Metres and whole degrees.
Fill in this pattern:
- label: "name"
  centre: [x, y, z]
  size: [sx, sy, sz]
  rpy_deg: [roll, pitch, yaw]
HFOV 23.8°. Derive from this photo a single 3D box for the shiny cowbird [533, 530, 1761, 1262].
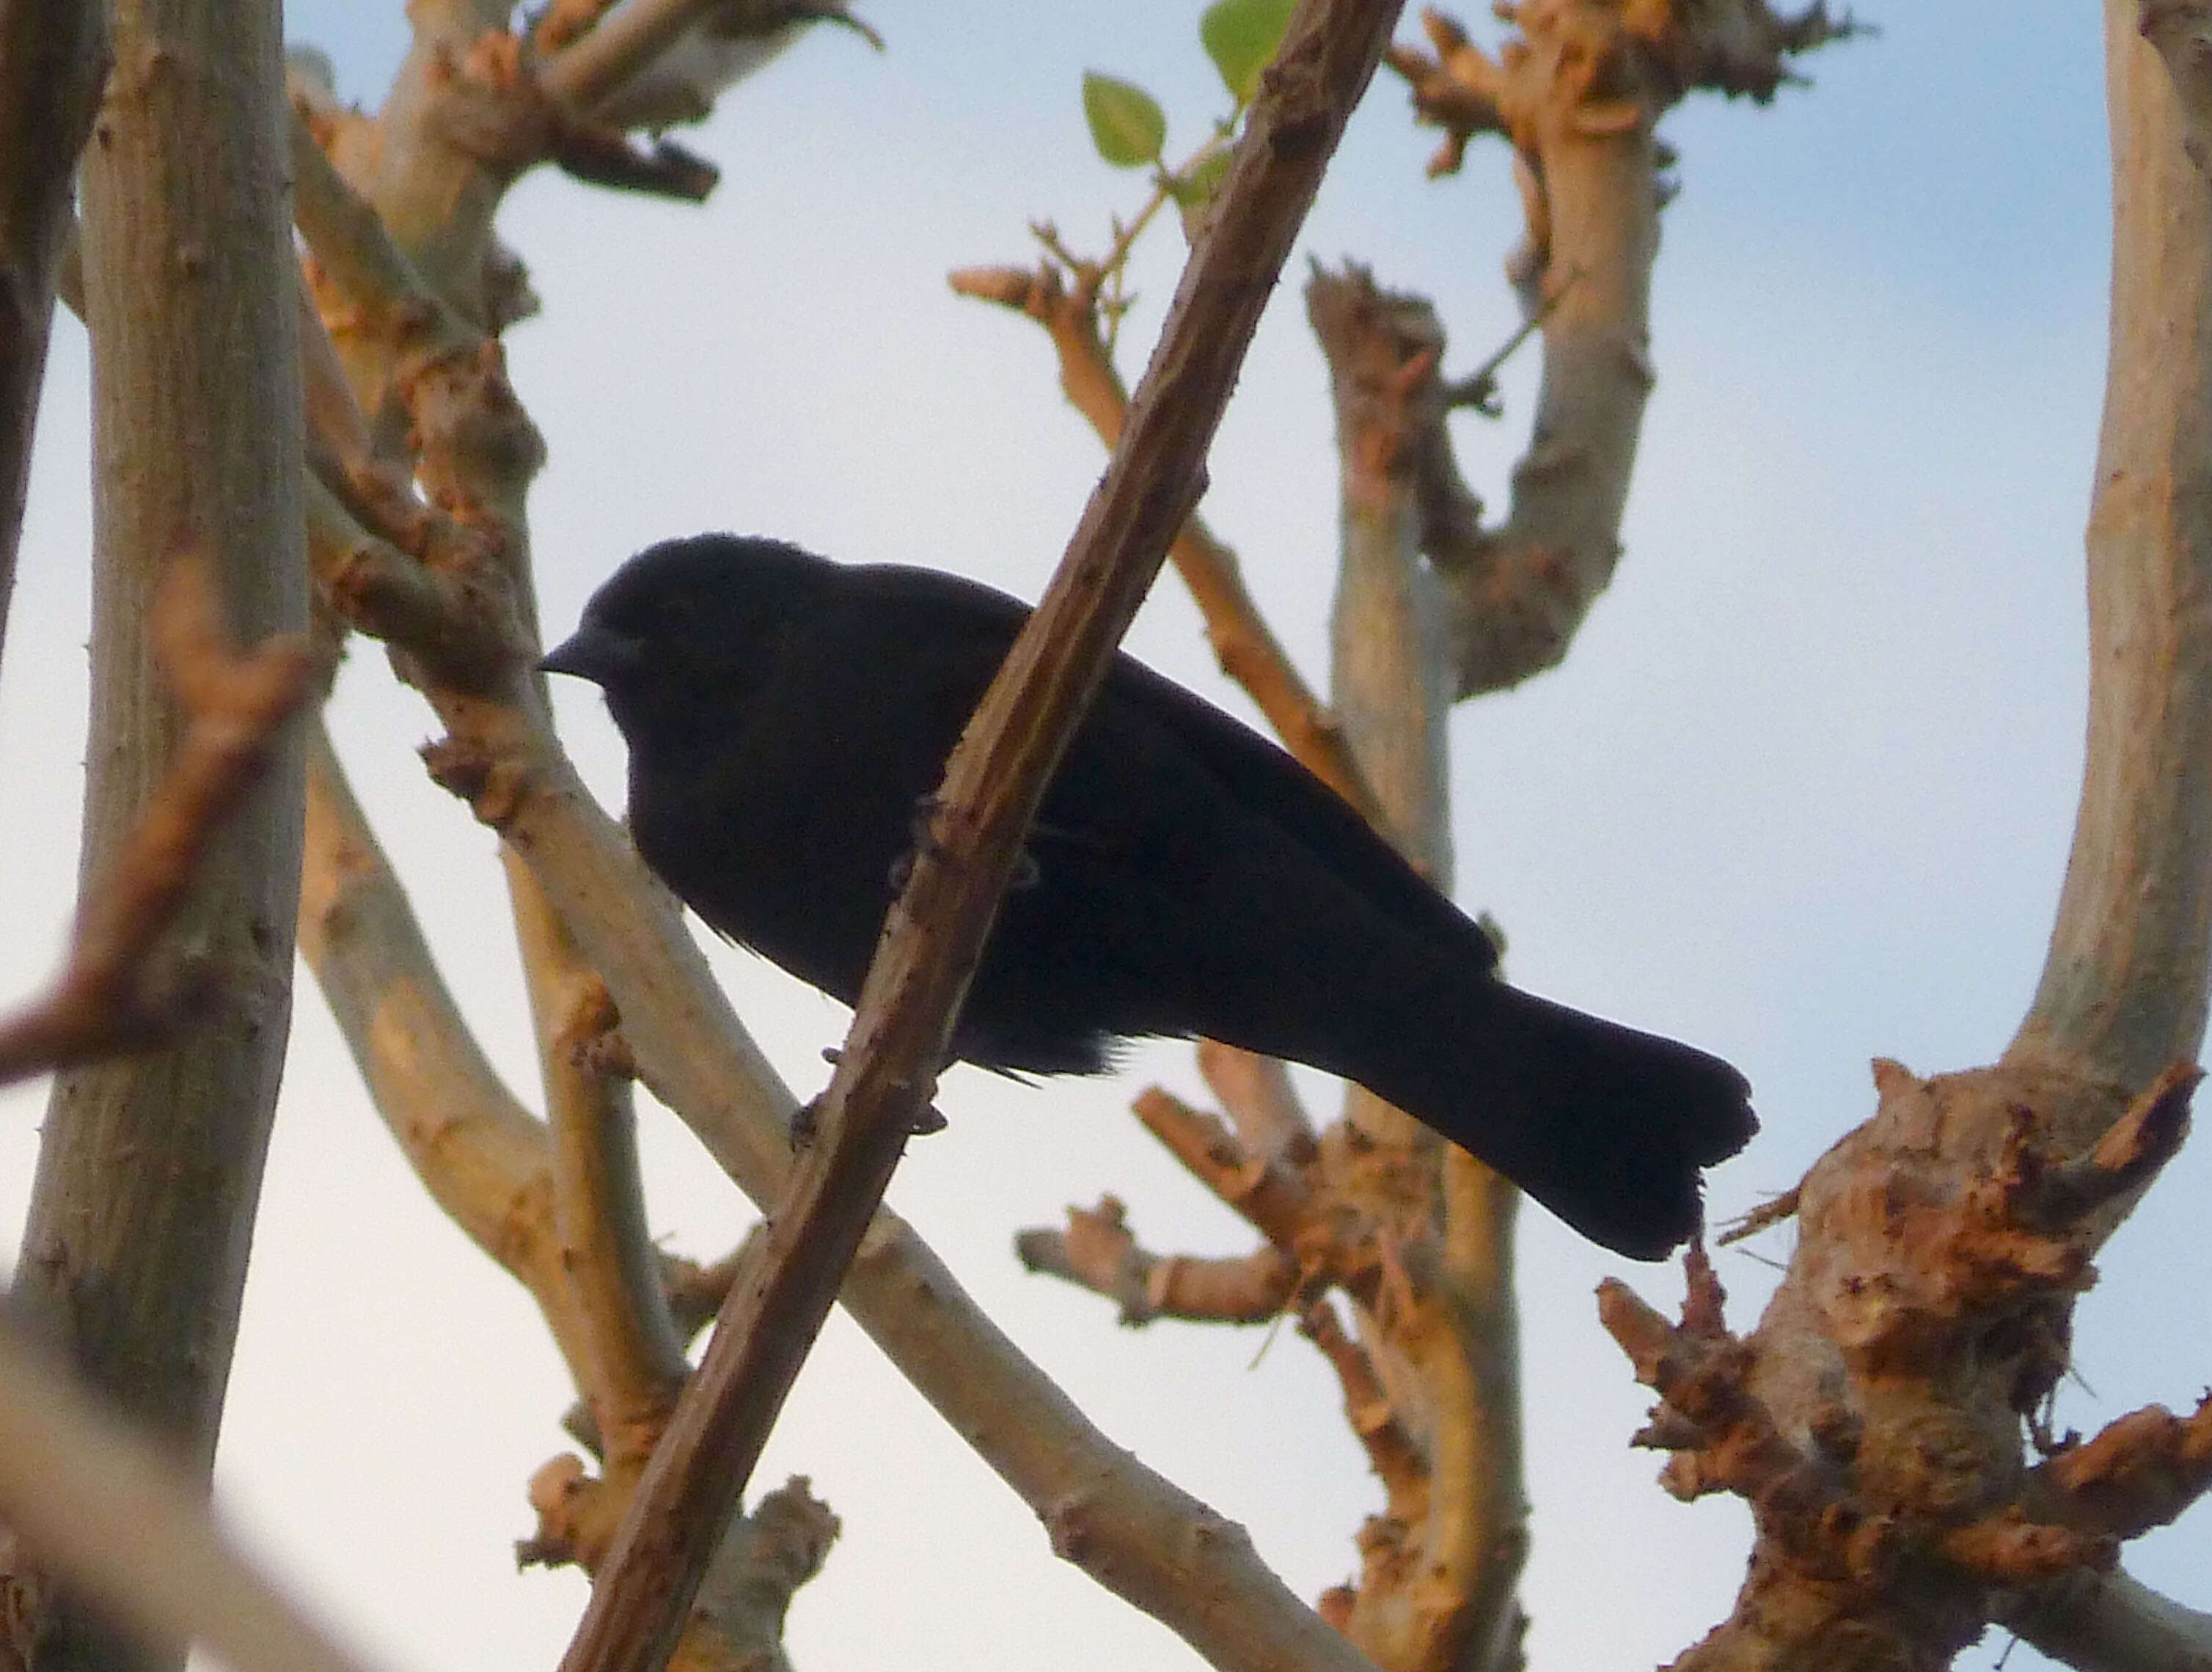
- label: "shiny cowbird"
  centre: [-0.006, 0.065, 8.894]
  size: [2.049, 0.880, 0.729]
  rpy_deg: [14, -52, -11]
